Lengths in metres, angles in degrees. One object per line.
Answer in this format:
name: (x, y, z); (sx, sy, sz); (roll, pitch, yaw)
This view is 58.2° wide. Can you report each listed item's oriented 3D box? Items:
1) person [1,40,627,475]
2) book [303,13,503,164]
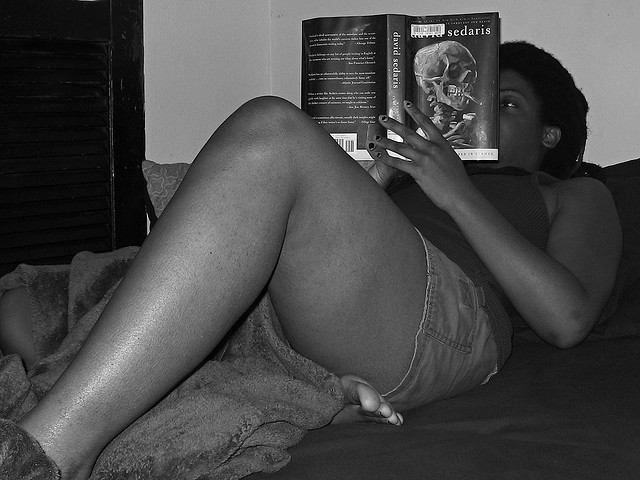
person: (0.049, 0.129, 1.064); (0.994, 0.684, 0.564); (6, 4, -42)
book: (0.273, -0.464, 1.784); (0.587, 0.497, 0.067); (0, -14, 3)
